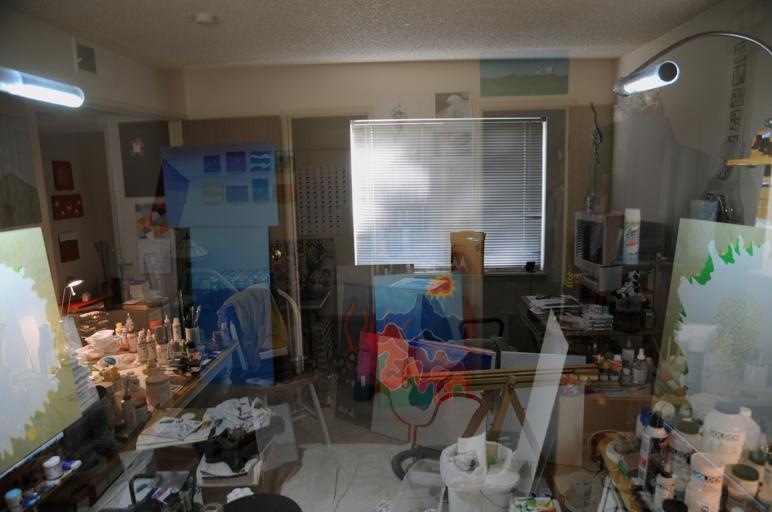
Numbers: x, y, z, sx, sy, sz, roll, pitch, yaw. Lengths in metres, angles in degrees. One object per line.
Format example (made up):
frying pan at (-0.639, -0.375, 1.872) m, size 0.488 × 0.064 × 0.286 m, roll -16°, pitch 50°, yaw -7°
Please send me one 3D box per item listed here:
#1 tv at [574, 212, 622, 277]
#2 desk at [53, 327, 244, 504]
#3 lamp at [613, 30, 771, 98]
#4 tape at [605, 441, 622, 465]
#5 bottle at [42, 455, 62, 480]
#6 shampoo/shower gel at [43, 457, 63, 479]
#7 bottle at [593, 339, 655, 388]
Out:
tv at (1.374, -0.098, 3.403) m, size 0.306 × 0.377 × 0.032 m, roll -4°, pitch 7°, yaw 0°
desk at (-1.493, 1.107, 3.379) m, size 1.143 × 0.887 × 0.318 m, roll -6°, pitch 7°, yaw -18°
lamp at (1.748, -1.208, 3.284) m, size 0.948 × 0.493 × 0.286 m, roll 17°, pitch 39°, yaw 39°
tape at (1.385, 1.206, 3.207) m, size 0.062 × 0.031 × 0.098 m, roll -1°, pitch 10°, yaw 8°
bottle at (-1.985, 1.264, 3.182) m, size 0.123 × 0.127 × 0.123 m, roll 0°, pitch 0°, yaw 41°
shampoo/shower gel at (-1.987, 1.260, 3.168) m, size 0.117 × 0.120 × 0.115 m, roll 0°, pitch -1°, yaw -37°
bottle at (1.563, 0.710, 3.425) m, size 0.306 × 0.252 × 0.146 m, roll 1°, pitch 11°, yaw 15°
